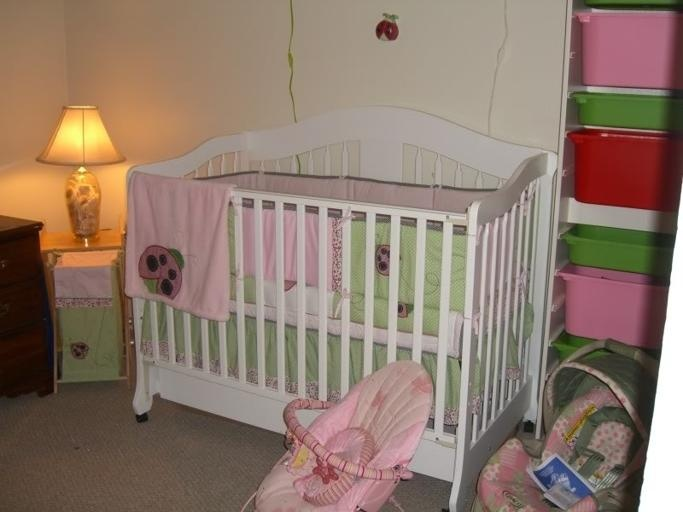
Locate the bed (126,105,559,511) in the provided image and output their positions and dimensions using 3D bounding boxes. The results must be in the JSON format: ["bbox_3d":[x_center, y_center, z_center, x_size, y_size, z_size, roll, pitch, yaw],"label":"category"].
[{"bbox_3d":[0.036,0.267,2.541,1.331,1.233,0.904,9,16,30],"label":"bed"}]

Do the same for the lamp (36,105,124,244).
[{"bbox_3d":[-1.493,-0.492,3.506,0.362,0.739,0.356,6,16,27],"label":"lamp"}]
